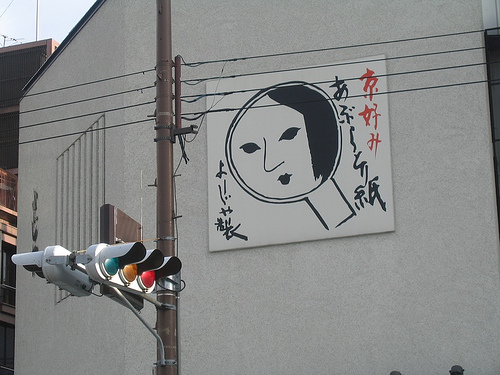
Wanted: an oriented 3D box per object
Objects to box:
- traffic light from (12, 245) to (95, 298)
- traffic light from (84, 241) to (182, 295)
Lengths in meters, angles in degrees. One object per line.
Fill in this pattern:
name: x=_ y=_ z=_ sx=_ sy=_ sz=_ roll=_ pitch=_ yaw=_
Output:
traffic light: x=-4.363 y=1.929 z=34.562 sx=1.104 sy=0.817 sz=1.802 roll=5 pitch=-23 yaw=21
traffic light: x=-2.615 y=1.782 z=34.434 sx=1.163 sy=1.118 sz=2.020 roll=-14 pitch=-18 yaw=41
